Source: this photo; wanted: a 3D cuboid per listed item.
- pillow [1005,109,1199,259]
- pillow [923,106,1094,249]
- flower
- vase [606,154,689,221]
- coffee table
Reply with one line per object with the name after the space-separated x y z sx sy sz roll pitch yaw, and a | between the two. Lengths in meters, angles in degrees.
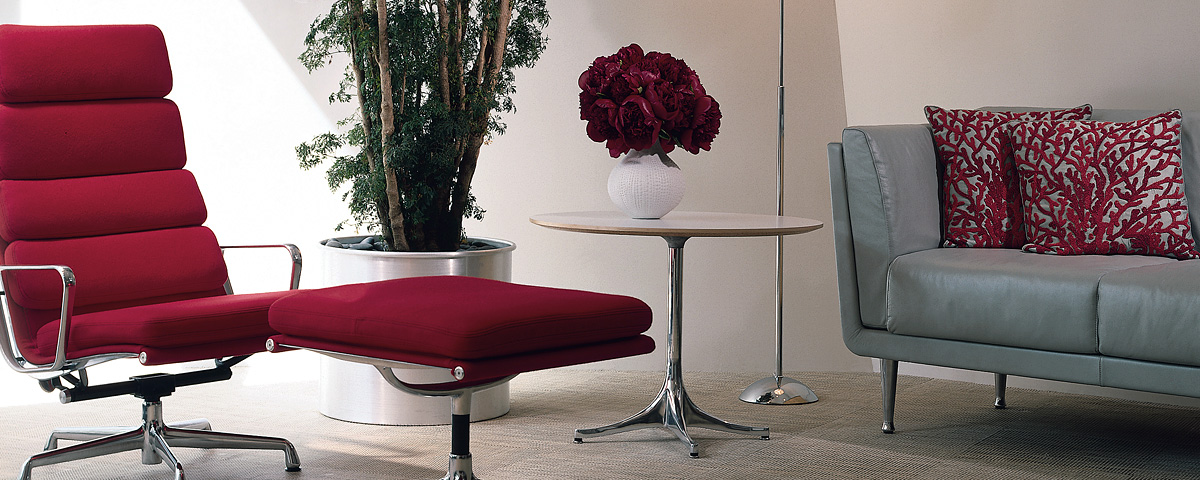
3.450 -0.343 5.682 1.305 0.881 0.520 -1 21 10 | pillow
2.882 -0.417 6.070 1.456 0.991 0.438 -2 7 -18 | pillow
0.327 -0.933 5.575 0.909 0.731 0.251 -4 11 2 | flower
0.276 -0.331 5.806 0.601 0.405 0.490 1 -5 -7 | vase
0.537 0.624 5.923 2.493 1.385 2.222 -1 -3 23 | coffee table
